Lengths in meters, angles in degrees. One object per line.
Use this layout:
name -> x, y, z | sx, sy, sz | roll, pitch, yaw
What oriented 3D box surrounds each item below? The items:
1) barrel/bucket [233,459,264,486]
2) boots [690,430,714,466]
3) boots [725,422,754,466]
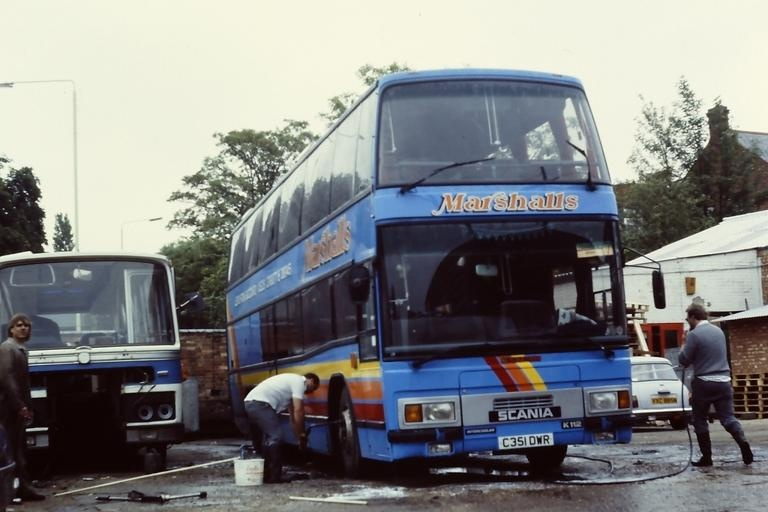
barrel/bucket -> -2.178, 3.473, 11.751 | 0.652, 0.474, 0.366 | 0, -11, -5
boots -> 5.097, 3.079, 11.709 | 0.313, 0.546, 0.543 | -8, -8, 20
boots -> 5.705, 2.986, 11.672 | 0.346, 0.693, 0.742 | -9, -9, 24
